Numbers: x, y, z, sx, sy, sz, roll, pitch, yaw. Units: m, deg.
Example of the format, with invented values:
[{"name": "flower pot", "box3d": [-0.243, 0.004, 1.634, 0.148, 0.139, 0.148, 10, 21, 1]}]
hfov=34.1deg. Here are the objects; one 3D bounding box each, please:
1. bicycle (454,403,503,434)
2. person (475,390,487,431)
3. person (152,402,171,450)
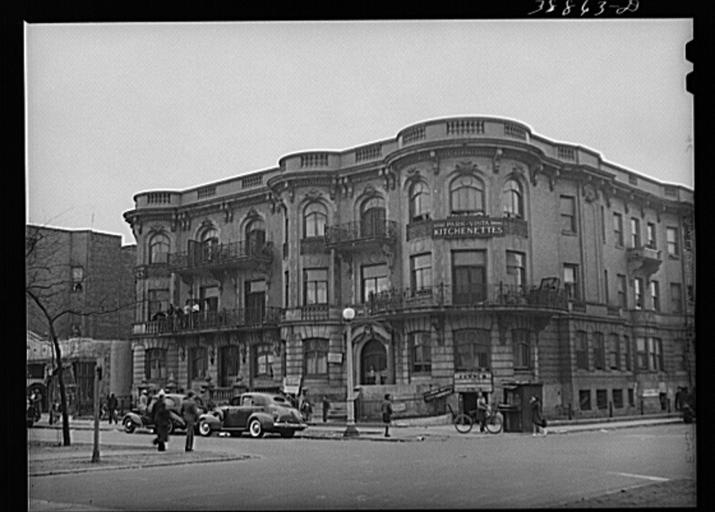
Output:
[{"name": "bicycle", "box3d": [5.215, 6.952, 50.062, 2.003, 1.423, 1.055, -3, -5, 1]}, {"name": "person", "box3d": [5.246, 6.599, 49.057, 0.388, 1.642, 1.247, -3, -13, 7]}, {"name": "person", "box3d": [-6.821, 5.869, 40.689, 0.557, 1.888, 0.731, 1, -12, -10]}]
